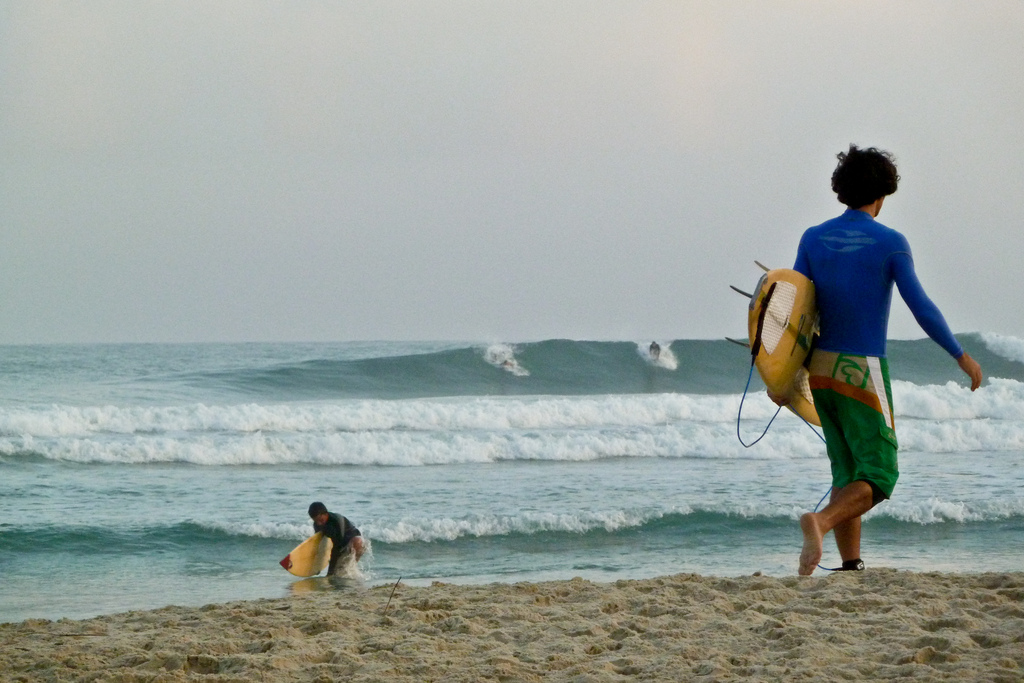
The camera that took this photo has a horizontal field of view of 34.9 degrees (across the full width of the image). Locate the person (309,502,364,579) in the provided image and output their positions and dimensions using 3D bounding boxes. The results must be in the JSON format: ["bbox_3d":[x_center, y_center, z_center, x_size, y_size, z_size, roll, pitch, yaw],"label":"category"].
[{"bbox_3d":[-2.484,2.664,21.781,0.856,0.925,1.435,1,18,-4],"label":"person"}]

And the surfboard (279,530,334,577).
[{"bbox_3d":[-2.722,2.846,21.364,0.698,0.518,0.288,-9,13,-44],"label":"surfboard"}]
